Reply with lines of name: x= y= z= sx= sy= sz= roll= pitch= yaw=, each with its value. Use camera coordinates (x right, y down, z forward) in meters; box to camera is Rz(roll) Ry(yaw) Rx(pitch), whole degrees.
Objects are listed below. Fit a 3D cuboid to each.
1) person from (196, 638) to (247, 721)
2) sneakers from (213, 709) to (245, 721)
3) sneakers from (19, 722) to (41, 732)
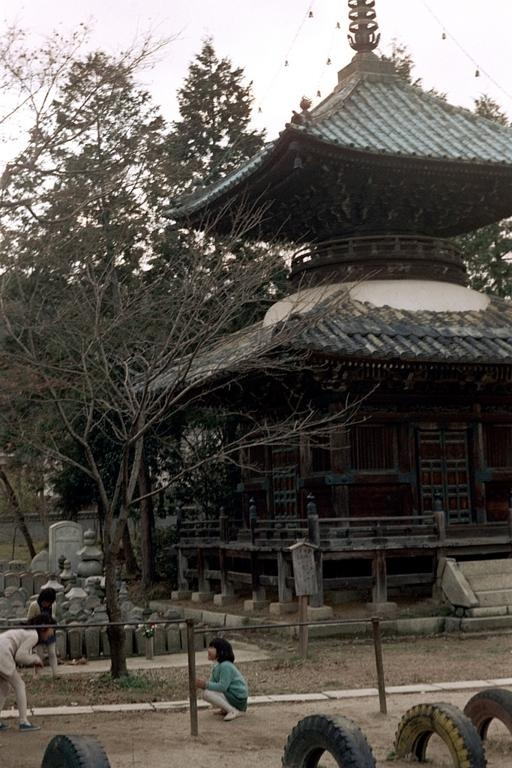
person: x=-0.377 y=3.262 z=14.296 sx=0.537 sy=0.865 sz=0.497 roll=-2 pitch=-8 yaw=-4
sneakers: x=-0.357 y=3.638 z=14.203 sx=0.344 sy=0.138 sz=0.120 roll=-14 pitch=-15 yaw=40
sneakers: x=-2.388 y=3.626 z=13.615 sx=0.185 sy=0.068 sz=0.084 roll=4 pitch=-14 yaw=-20
